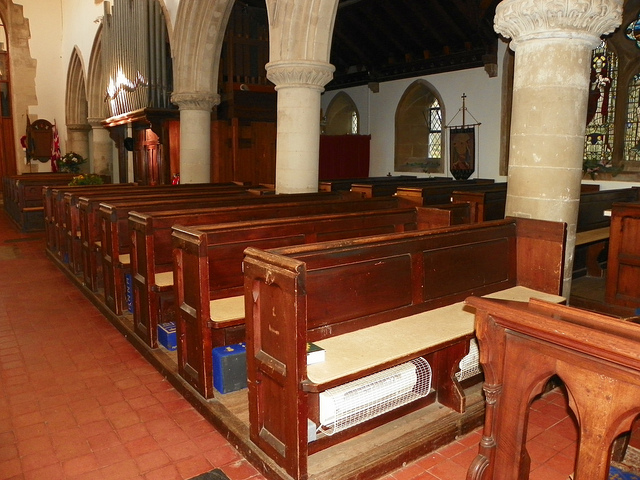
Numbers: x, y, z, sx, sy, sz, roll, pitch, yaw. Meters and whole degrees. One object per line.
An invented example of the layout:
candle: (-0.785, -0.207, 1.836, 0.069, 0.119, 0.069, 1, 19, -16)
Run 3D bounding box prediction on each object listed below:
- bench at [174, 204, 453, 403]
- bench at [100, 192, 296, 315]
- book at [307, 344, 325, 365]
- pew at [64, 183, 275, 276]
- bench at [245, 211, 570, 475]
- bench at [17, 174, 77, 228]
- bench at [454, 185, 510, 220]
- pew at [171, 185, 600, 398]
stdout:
bench: (-0.078, 0.493, 3.286, 1.404, 0.690, 0.413, -10, 16, -36)
bench: (-1.094, 0.139, 4.036, 1.195, 0.681, 0.380, -7, 12, -39)
book: (-0.031, 0.681, 2.814, 0.084, 0.050, 0.104, -4, 9, -32)
pew: (-2.029, -0.152, 7.499, 1.092, 1.148, 3.346, 12, 15, 38)
bench: (0.567, 0.717, 3.038, 1.576, 0.826, 0.400, -9, 13, -35)
bench: (-5.190, -0.714, 8.935, 1.260, 0.899, 0.717, -5, 9, -39)
bench: (2.104, -0.478, 6.184, 0.661, 0.272, 0.212, -13, 20, -36)
pew: (0.398, 0.377, 3.392, 1.768, 0.596, 0.515, -7, 15, -32)
